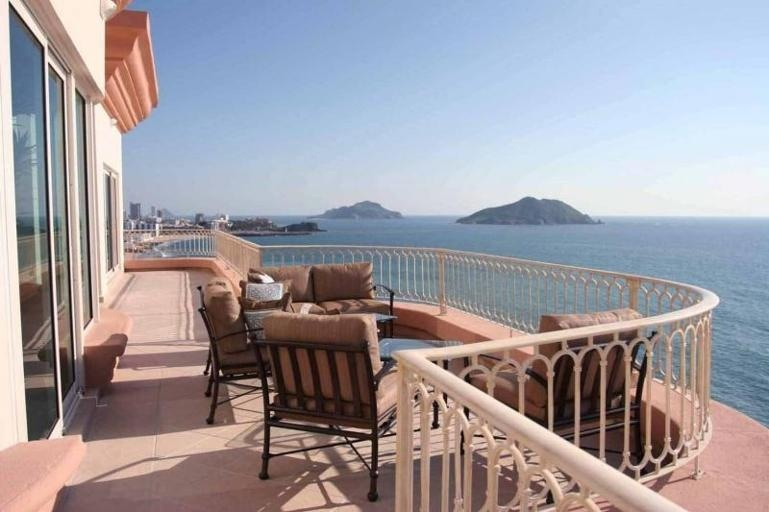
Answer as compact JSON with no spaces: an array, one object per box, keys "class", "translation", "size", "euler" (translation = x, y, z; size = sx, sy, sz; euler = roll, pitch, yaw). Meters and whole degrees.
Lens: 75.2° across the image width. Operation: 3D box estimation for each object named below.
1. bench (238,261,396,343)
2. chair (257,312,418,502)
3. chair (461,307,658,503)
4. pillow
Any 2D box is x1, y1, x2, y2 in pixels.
[{"class":"bench","translation":[-1.026,0.727,7.507],"size":[2.221,1.082,0.903],"euler":[0,5,-31]},{"class":"chair","translation":[-0.304,1.259,4.752],"size":[1.305,1.362,1.643],"euler":[-1,-5,16]},{"class":"chair","translation":[1.763,1.142,4.532],"size":[1.447,1.542,1.825],"euler":[0,-3,-13]},{"class":"pillow","translation":[-1.469,0.494,5.902],"size":[0.649,0.710,0.238],"euler":[7,-28,-31]}]
